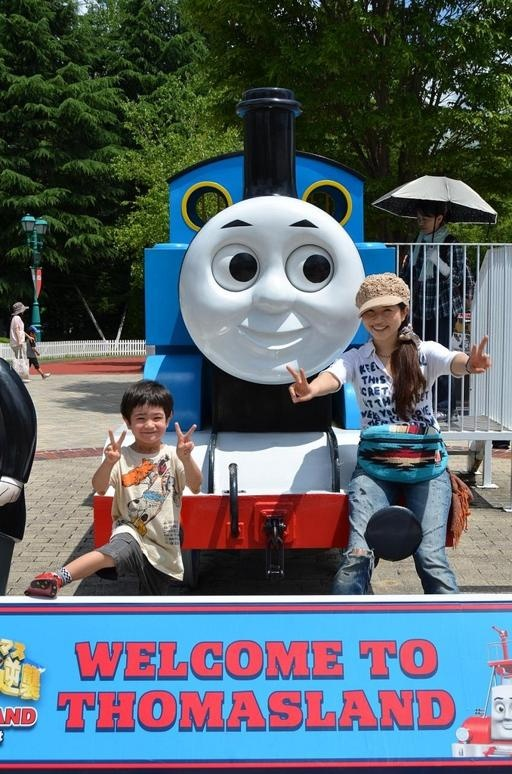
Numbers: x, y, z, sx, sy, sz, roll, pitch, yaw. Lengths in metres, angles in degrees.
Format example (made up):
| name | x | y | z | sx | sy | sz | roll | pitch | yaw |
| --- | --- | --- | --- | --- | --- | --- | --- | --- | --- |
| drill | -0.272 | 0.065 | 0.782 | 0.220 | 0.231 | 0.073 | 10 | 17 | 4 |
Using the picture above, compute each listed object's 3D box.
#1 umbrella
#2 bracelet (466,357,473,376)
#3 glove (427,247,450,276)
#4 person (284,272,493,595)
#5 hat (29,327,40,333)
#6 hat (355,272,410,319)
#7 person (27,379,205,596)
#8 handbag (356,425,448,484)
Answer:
| name | x | y | z | sx | sy | sz | roll | pitch | yaw |
| --- | --- | --- | --- | --- | --- | --- | --- | --- | --- |
| umbrella | 1.797 | -2.015 | 6.640 | 1.197 | 0.416 | 1.168 | 15 | 1 | -23 |
| bracelet | 0.837 | -0.085 | 2.356 | 0.017 | 0.052 | 0.038 | 1 | 0 | -15 |
| glove | 1.637 | -1.143 | 5.493 | 0.193 | 0.269 | 0.519 | 4 | 9 | 24 |
| person | 0.512 | 0.164 | 2.373 | 0.723 | 1.226 | 0.717 | 3 | 8 | 21 |
| hat | -7.963 | -2.055 | 21.776 | 0.317 | 0.167 | 0.450 | 5 | -9 | 28 |
| hat | 0.512 | -0.386 | 2.463 | 0.154 | 0.109 | 0.206 | -7 | -13 | 12 |
| person | -0.413 | 0.402 | 2.225 | 0.397 | 0.812 | 0.464 | 0 | 7 | -1 |
| handbag | 0.585 | 0.264 | 2.411 | 0.356 | 0.234 | 0.154 | 1 | 8 | 7 |
